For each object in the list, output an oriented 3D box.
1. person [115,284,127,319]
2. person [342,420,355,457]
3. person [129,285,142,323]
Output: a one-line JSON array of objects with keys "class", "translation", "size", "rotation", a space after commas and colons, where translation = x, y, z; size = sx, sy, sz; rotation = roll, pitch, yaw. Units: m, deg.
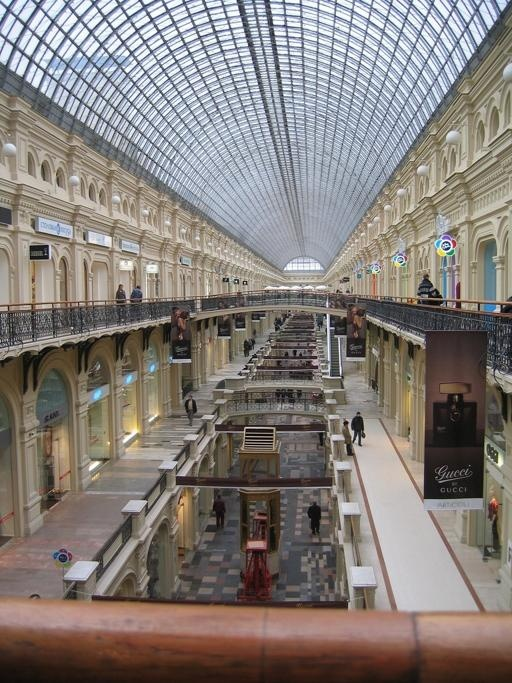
[{"class": "person", "translation": [-6.894, -1.960, 23.252], "size": [0.513, 1.688, 1.321], "rotation": [-1, 1, -15]}, {"class": "person", "translation": [4.518, 4.765, 22.084], "size": [0.533, 1.520, 1.957], "rotation": [-1, 1, 12]}, {"class": "person", "translation": [-6.628, -2.124, 25.070], "size": [0.543, 1.741, 1.884], "rotation": [-1, 1, -5]}]
